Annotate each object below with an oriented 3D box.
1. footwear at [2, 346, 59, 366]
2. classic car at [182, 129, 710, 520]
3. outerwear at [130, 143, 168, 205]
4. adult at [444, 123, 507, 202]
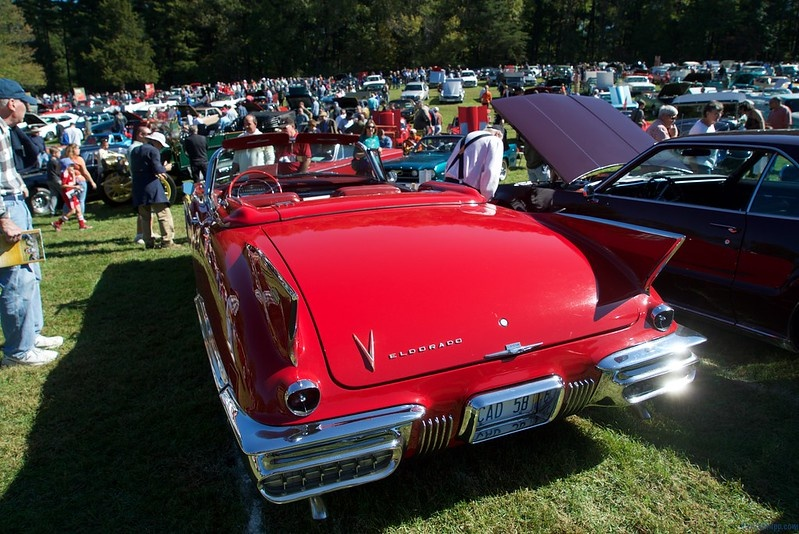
[{"bbox_3d":[-3.824,0.921,6.129,0.522,0.242,0.206,-5,12,-25],"label":"footwear"},{"bbox_3d":[0.170,0.289,4.892,3.731,2.015,2.708,-7,18,-1],"label":"classic car"},{"bbox_3d":[-4.131,-1.531,9.548,0.646,1.017,0.297,-3,18,9],"label":"outerwear"},{"bbox_3d":[0.870,-1.278,7.456,0.774,0.440,0.842,-2,61,17],"label":"adult"}]
